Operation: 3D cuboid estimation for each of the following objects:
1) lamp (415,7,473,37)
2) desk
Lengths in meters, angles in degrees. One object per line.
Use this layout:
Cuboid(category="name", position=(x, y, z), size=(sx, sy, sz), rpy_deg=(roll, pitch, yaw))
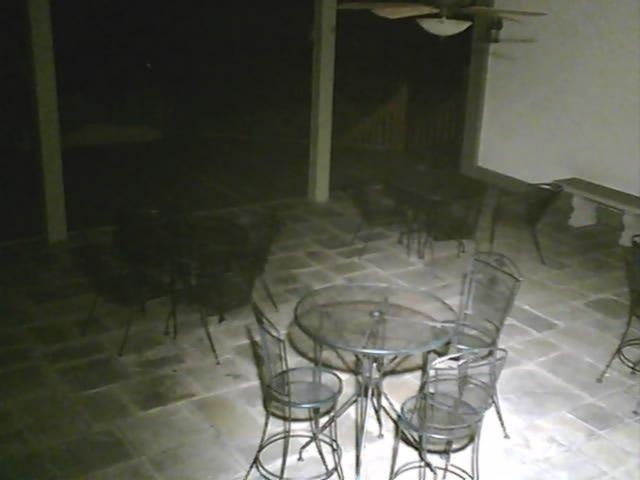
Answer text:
Cuboid(category="lamp", position=(0.991, -1.740, 4.720), size=(0.279, 0.163, 0.403), rpy_deg=(-12, 28, -37))
Cuboid(category="desk", position=(0.368, 1.233, 5.215), size=(1.387, 1.123, 1.450), rpy_deg=(14, 32, 21))
